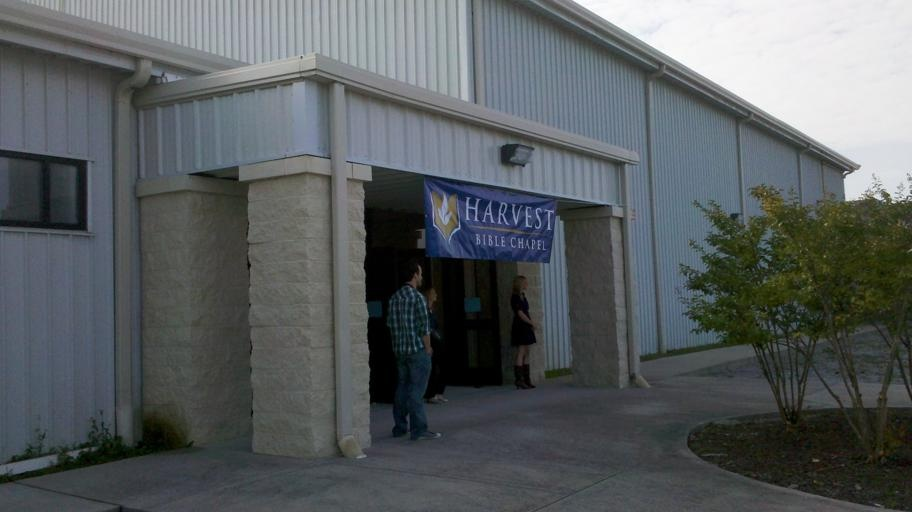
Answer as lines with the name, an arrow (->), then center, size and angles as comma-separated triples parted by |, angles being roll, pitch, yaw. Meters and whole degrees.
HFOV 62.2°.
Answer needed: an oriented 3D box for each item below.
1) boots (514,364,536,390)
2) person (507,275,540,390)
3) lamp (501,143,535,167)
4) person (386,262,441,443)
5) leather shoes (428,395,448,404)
boots -> 1.608, 2.865, 18.051 | 0.532, 0.605, 0.553 | -5, -5, 16
person -> 1.596, 1.782, 18.145 | 0.548, 2.629, 1.062 | -1, 7, 4
lamp -> 1.267, -2.075, 15.654 | 0.763, 0.476, 0.268 | -6, 9, -39
person -> -0.778, 1.754, 13.729 | 0.727, 3.033, 0.925 | -6, 8, -35
leather shoes -> -0.349, 3.138, 16.586 | 0.505, 0.203, 0.158 | -5, -5, 3
